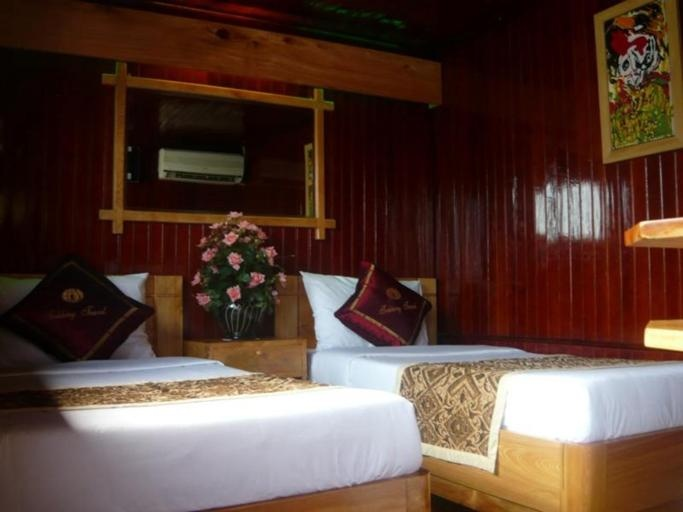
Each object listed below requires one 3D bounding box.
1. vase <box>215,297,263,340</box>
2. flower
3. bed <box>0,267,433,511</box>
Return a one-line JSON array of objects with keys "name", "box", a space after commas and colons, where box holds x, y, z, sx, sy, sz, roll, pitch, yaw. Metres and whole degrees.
[{"name": "vase", "box": [-0.714, 0.435, 3.864, 0.248, 0.197, 0.255, -5, -7, 44]}, {"name": "flower", "box": [-0.692, 0.107, 4.186, 0.673, 0.752, 0.673, -6, -30, 1]}, {"name": "bed", "box": [-0.628, 0.581, 2.622, 1.055, 0.735, 1.078, 4, -6, -23]}]
